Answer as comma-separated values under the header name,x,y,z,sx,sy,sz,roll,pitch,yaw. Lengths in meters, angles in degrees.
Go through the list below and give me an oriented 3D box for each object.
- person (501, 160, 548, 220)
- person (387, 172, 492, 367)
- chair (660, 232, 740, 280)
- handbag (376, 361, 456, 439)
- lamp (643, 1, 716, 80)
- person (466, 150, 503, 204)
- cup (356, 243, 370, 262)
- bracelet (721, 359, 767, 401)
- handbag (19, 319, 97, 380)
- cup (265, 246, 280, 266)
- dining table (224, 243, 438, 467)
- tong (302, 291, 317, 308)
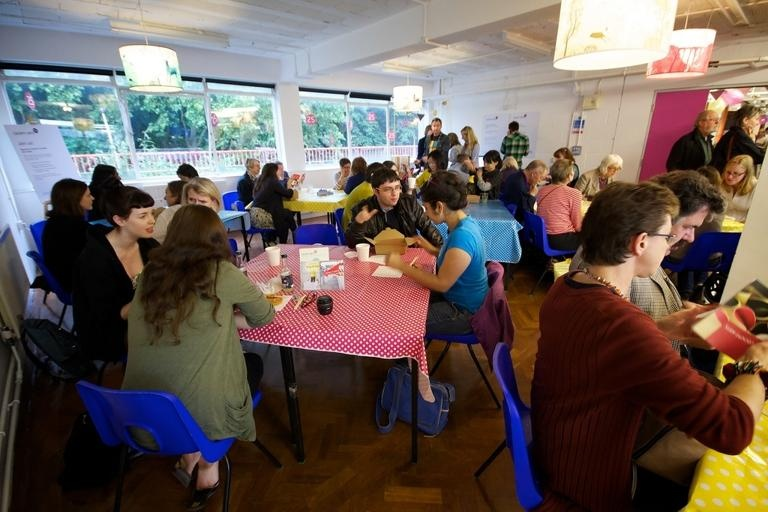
name,x,y,z,sx,sy,sz,roll,pitch,yaw
person,1.682,-0.807,5.971,0.530,0.407,0.958,-2,-25,6
person,0.354,0.183,4.016,0.886,1.689,0.865,7,14,5
chair,2.946,-0.027,4.513,0.400,0.269,0.413,2,12,6
handbag,0.224,1.123,3.904,0.663,0.437,0.431,14,21,33
lamp,2.973,-2.135,5.020,0.693,0.472,0.604,-11,22,-23
person,1.367,-1.144,6.968,0.568,0.758,0.429,6,19,3
cup,-0.170,-0.040,4.093,0.126,0.117,0.132,0,12,0
bracelet,2.048,0.666,2.827,0.208,0.261,0.097,15,11,29
handbag,-2.639,0.773,4.015,0.542,0.219,0.228,34,32,28
cup,-0.884,-0.013,4.060,0.142,0.150,0.141,1,14,0
dining table,-0.217,0.440,3.453,1.371,0.693,1.415,3,27,11
tong,-0.541,0.314,3.595,0.050,0.007,0.168,7,19,4
